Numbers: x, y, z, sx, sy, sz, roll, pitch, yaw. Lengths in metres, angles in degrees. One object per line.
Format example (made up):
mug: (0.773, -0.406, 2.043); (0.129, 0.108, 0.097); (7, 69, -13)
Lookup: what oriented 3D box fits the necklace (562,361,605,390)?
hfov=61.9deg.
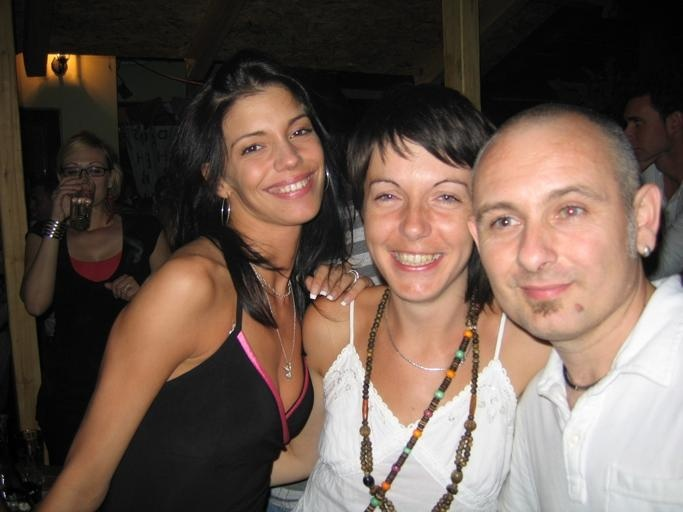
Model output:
necklace: (0.967, 0.493, 2.345); (0.090, 0.024, 0.086); (-4, 48, -10)

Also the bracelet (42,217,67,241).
bracelet: (-1.970, -0.195, 3.923); (0.132, 0.130, 0.138); (-2, 1, -1)

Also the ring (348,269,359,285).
ring: (0.072, 0.123, 3.176); (0.020, 0.065, 0.057); (-5, 32, 18)
